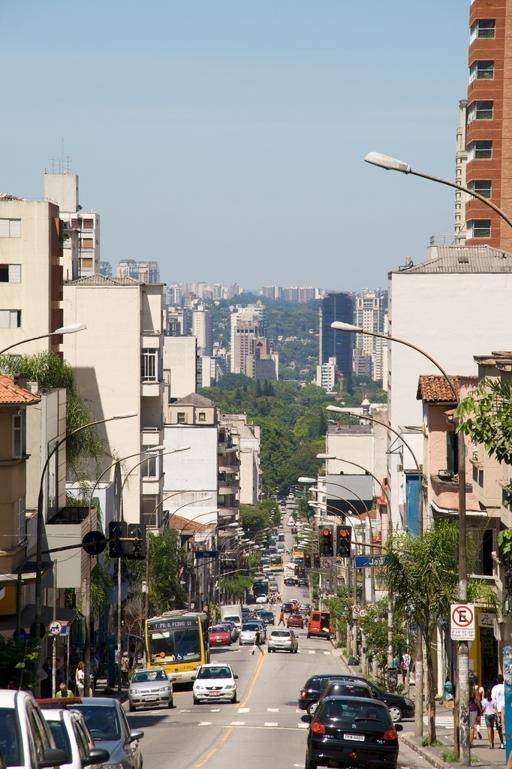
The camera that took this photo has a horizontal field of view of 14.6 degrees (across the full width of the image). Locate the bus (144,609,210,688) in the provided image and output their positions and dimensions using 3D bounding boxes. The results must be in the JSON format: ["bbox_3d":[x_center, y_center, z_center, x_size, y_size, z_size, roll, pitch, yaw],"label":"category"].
[{"bbox_3d":[-2.593,8.843,69.987,2.332,2.379,2.618,-3,-6,30],"label":"bus"}]

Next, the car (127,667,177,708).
[{"bbox_3d":[-3.223,9.084,60.639,1.276,1.121,1.567,-3,-4,-7],"label":"car"}]

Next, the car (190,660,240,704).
[{"bbox_3d":[-1.294,9.071,61.709,1.278,1.219,1.697,-4,-4,6],"label":"car"}]
